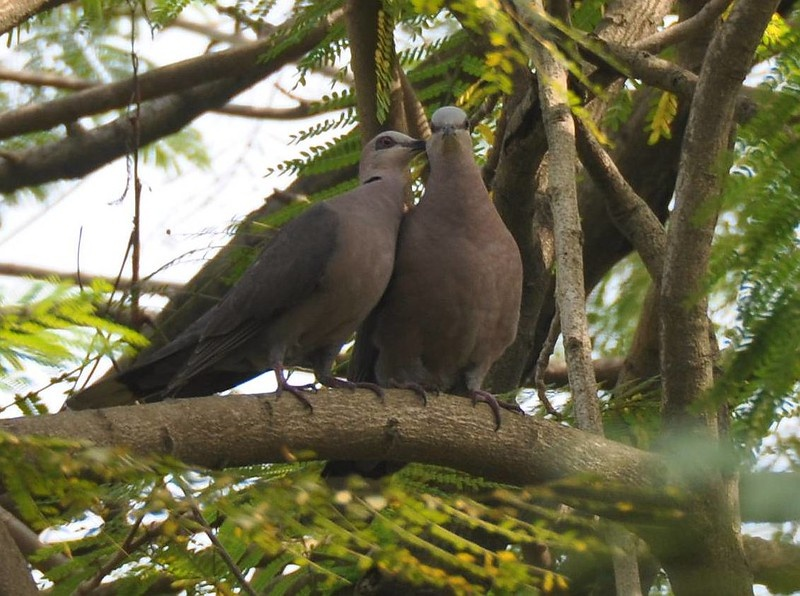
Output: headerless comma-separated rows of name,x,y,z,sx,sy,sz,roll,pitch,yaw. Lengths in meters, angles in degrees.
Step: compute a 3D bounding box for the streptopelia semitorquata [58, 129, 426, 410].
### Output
streptopelia semitorquata,-0.505,-0.079,7.436,1.123,1.895,0.585,-11,-46,24
